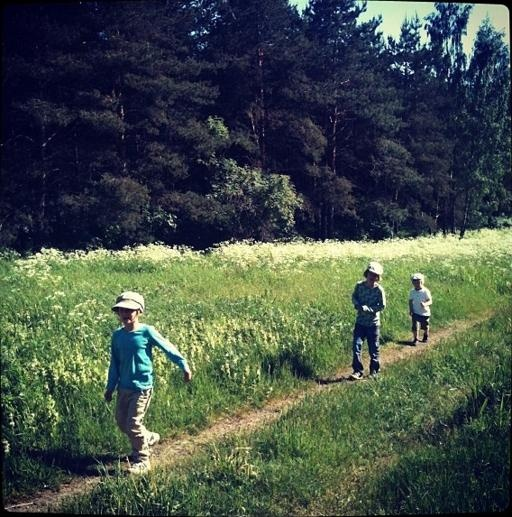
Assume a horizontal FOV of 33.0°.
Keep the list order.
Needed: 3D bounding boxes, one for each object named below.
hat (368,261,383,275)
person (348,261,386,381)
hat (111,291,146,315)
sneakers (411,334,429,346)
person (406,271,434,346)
[{"bbox_3d":[3.076,0.269,22.498,0.397,0.346,0.439,4,14,6],"label":"hat"},{"bbox_3d":[2.965,1.562,22.871,0.839,3.063,1.261,3,11,7],"label":"person"},{"bbox_3d":[-2.843,0.975,19.886,0.377,0.393,0.619,1,-12,12],"label":"hat"},{"bbox_3d":[4.772,2.320,25.025,0.208,0.361,0.647,2,16,42],"label":"sneakers"},{"bbox_3d":[4.741,1.412,24.939,0.616,2.008,0.656,3,11,10],"label":"person"}]
